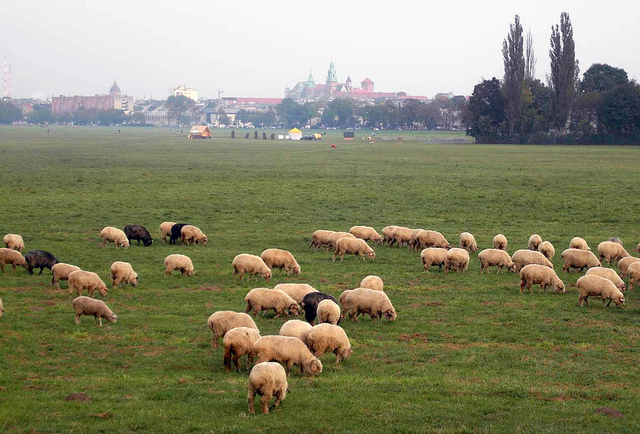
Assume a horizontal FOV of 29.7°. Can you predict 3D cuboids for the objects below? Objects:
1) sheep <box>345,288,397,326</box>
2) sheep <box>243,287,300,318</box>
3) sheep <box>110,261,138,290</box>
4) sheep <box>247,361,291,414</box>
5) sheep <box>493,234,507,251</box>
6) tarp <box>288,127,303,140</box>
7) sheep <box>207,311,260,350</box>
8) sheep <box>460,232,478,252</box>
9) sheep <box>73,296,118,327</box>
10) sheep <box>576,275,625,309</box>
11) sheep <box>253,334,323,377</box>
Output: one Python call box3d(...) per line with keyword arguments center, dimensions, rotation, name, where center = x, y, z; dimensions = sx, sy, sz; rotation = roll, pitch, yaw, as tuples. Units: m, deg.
box3d(center=(2.653, 4.781, 63.065), dimensions=(2.920, 1.811, 1.067), rotation=(6, 3, 20), name="sheep")
box3d(center=(-2.541, 4.613, 62.923), dimensions=(3.008, 1.575, 0.959), rotation=(4, 2, -21), name="sheep")
box3d(center=(-10.656, 3.385, 65.532), dimensions=(0.852, 1.479, 2.075), rotation=(6, -10, 31), name="sheep")
box3d(center=(-2.544, 8.353, 57.950), dimensions=(1.822, 2.424, 0.778), rotation=(4, 7, -5), name="sheep")
box3d(center=(10.241, 1.509, 69.034), dimensions=(0.769, 0.888, 1.919), rotation=(5, 7, 8), name="sheep")
box3d(center=(-3.652, -12.435, 175.616), dimensions=(2.108, 1.473, 2.268), rotation=(0, -1, 20), name="tarp")
box3d(center=(-4.346, 5.857, 61.236), dimensions=(3.336, 1.952, 0.950), rotation=(7, -5, -40), name="sheep")
box3d(center=(8.524, 1.485, 69.681), dimensions=(1.023, 1.074, 0.718), rotation=(0, 8, -29), name="sheep")
box3d(center=(-11.644, 5.038, 62.388), dimensions=(2.346, 1.337, 0.809), rotation=(12, -5, -10), name="sheep")
box3d(center=(14.863, 4.085, 64.079), dimensions=(2.669, 1.808, 1.191), rotation=(7, 12, 19), name="sheep")
box3d(center=(-1.646, 6.957, 59.175), dimensions=(2.509, 1.587, 0.770), rotation=(26, -16, -9), name="sheep")
